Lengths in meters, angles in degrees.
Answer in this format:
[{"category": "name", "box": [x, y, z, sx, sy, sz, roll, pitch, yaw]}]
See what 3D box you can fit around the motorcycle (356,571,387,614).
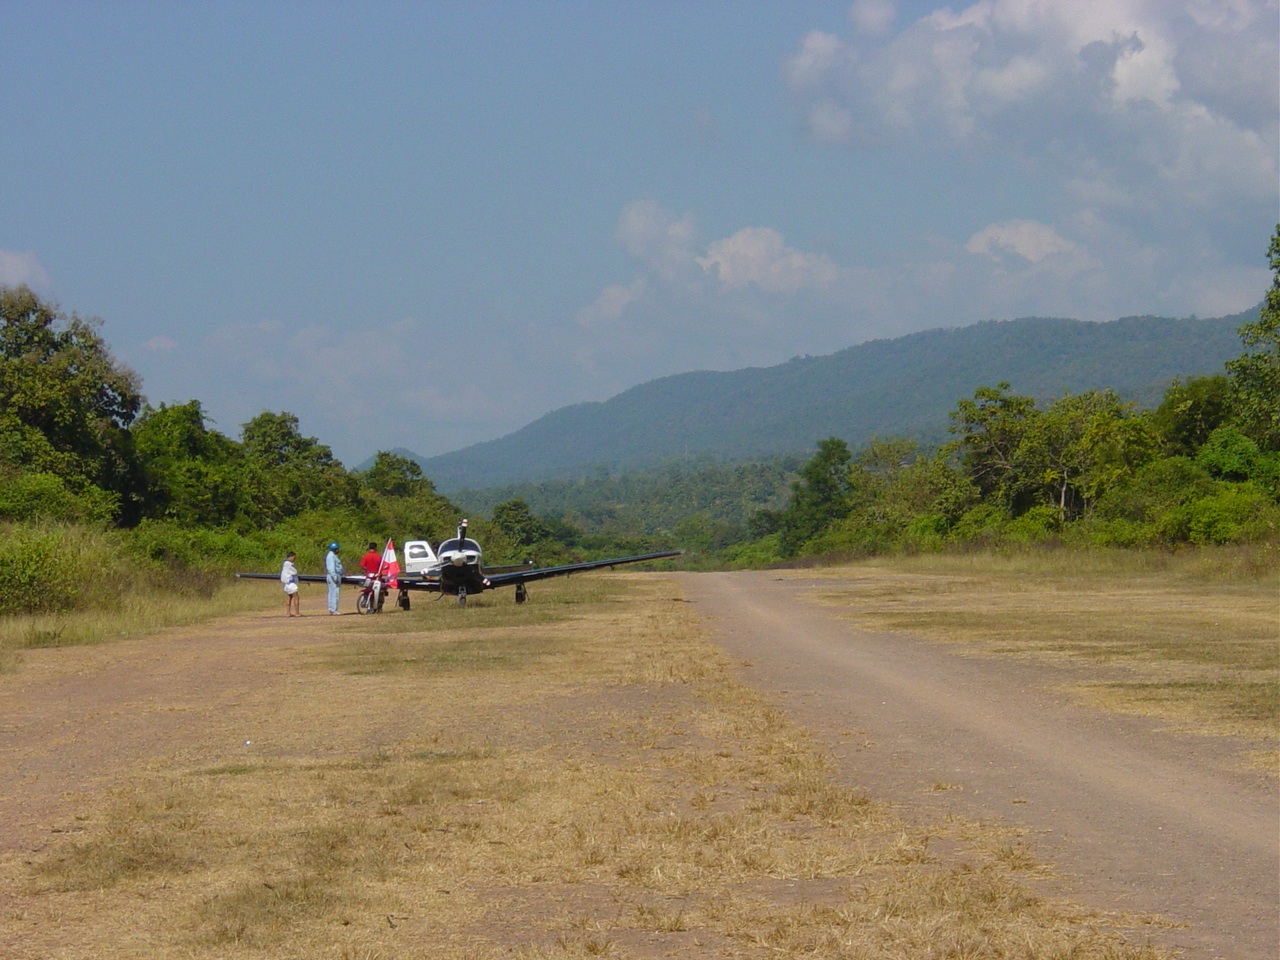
[{"category": "motorcycle", "box": [-8.330, 3.543, 35.410, 0.779, 1.303, 0.791, 7, 3, -21]}]
